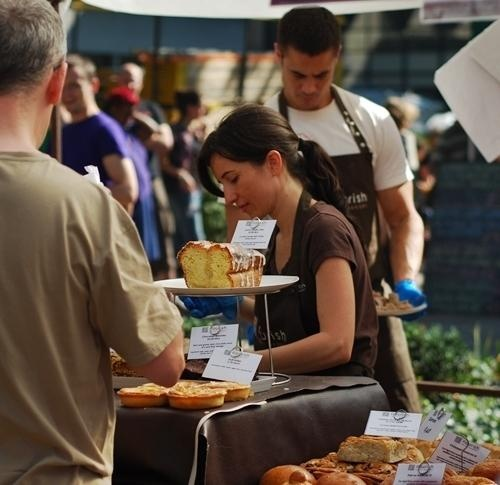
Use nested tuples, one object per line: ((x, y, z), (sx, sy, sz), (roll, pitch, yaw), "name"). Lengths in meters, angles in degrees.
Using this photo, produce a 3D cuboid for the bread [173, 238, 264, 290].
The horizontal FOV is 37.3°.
((-0.103, 0.080, 2.846), (0.294, 0.163, 0.288), (-2, 0, 12), "bread")
